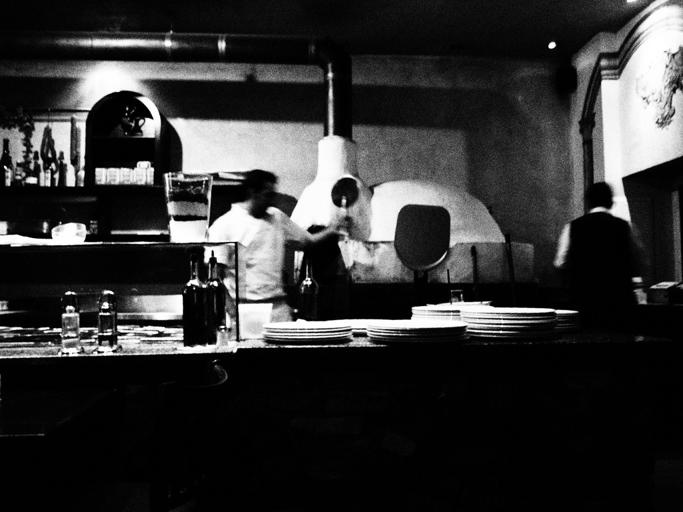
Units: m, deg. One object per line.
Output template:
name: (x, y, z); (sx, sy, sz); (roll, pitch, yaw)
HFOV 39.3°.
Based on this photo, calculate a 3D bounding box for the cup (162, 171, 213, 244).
cup: (-0.776, -0.248, 4.853); (0.316, 0.463, 0.312); (0, -1, 0)

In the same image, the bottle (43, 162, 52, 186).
bottle: (-2.093, -0.585, 6.877); (0.082, 0.161, 0.200); (-3, 7, -18)

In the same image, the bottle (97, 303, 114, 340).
bottle: (-1.180, 0.317, 4.832); (0.093, 0.262, 0.105); (-2, 7, -15)

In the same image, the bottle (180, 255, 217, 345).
bottle: (-0.726, 0.221, 4.873); (0.158, 0.451, 0.182); (-2, 7, -10)

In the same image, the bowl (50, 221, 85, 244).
bowl: (-1.411, -0.122, 4.919); (0.137, 0.071, 0.108); (-3, -1, 22)

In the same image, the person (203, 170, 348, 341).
person: (-0.388, 0.022, 6.032); (1.034, 1.296, 0.427); (2, -9, -41)

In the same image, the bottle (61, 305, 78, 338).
bottle: (-1.367, 0.325, 4.847); (0.077, 0.163, 0.113); (-2, 7, -11)

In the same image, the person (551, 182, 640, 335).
person: (1.767, -0.020, 6.475); (0.400, 0.938, 0.866); (-2, 7, -17)
